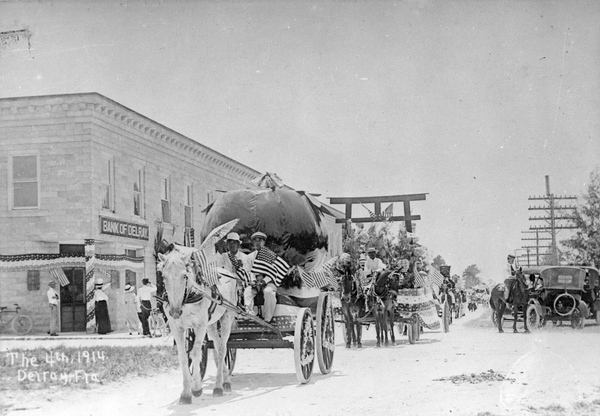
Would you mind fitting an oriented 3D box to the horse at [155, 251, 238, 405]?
[{"bbox_3d":[-1.940,2.144,12.388,0.659,2.800,1.674,-1,-2,20],"label":"horse"}]

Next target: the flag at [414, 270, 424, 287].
[{"bbox_3d":[3.640,2.174,20.405,0.454,0.489,0.037,9,-17,-44],"label":"flag"}]

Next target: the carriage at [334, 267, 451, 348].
[{"bbox_3d":[3.280,2.666,21.306,2.408,1.185,3.474,-8,14,-3],"label":"carriage"}]

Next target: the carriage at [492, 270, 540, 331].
[{"bbox_3d":[7.418,3.277,23.246,0.633,2.038,2.755,2,-10,-13],"label":"carriage"}]

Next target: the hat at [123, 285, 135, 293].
[{"bbox_3d":[-5.647,2.636,21.883,0.266,0.298,0.575,0,-3,-12],"label":"hat"}]

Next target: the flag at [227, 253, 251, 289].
[{"bbox_3d":[-1.177,1.246,13.686,0.375,0.293,1.178,-22,-38,-21],"label":"flag"}]

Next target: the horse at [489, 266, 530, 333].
[{"bbox_3d":[7.376,3.248,23.246,0.618,2.090,2.616,1,-11,-14],"label":"horse"}]

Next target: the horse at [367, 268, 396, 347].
[{"bbox_3d":[2.497,2.981,20.123,0.803,2.273,1.101,-1,-2,15],"label":"horse"}]

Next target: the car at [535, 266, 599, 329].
[{"bbox_3d":[9.772,3.206,24.368,2.828,2.199,1.331,0,-2,-8],"label":"car"}]

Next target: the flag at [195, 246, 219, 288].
[{"bbox_3d":[-1.743,1.101,12.308,0.180,0.610,0.700,-12,-9,23],"label":"flag"}]
